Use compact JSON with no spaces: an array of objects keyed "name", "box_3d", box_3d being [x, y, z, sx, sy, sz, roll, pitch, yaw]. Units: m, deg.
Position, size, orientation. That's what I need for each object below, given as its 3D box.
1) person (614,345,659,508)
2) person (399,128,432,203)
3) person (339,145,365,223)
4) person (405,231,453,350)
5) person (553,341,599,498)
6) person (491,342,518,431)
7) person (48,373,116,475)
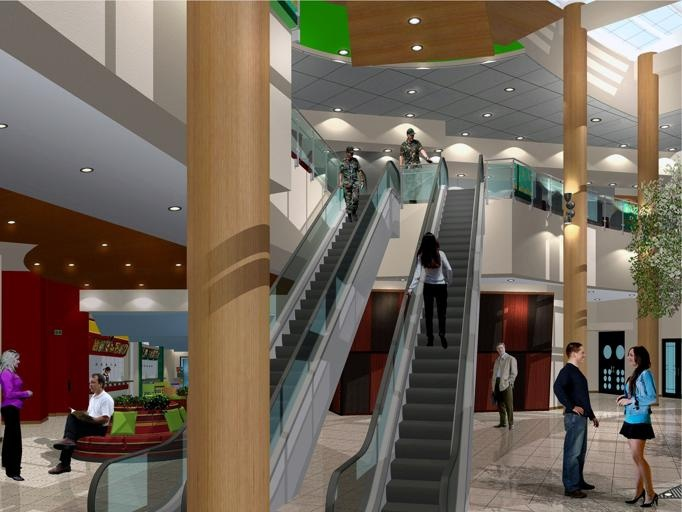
[{"name":"person","box_3d":[4.275,2.448,7.136,0.501,2.269,0.991,-5,-11,29]},{"name":"person","box_3d":[2.285,-3.413,15.477,0.873,1.300,1.732,-1,-10,6]},{"name":"person","box_3d":[0.281,-1.938,13.284,0.587,1.941,0.968,0,-9,0]},{"name":"person","box_3d":[1.651,0.627,9.089,0.719,2.045,1.275,-2,-10,12]},{"name":"person","box_3d":[3.643,2.536,7.727,0.569,2.334,0.820,-4,-10,23]},{"name":"person","box_3d":[4.523,3.606,13.805,0.649,2.308,1.292,-3,-10,16]},{"name":"person","box_3d":[-5.069,3.268,9.802,1.484,1.892,0.952,-8,-12,40]}]
